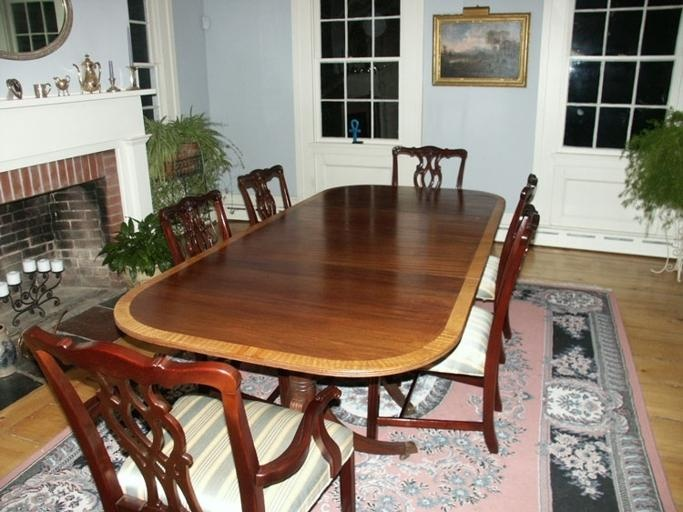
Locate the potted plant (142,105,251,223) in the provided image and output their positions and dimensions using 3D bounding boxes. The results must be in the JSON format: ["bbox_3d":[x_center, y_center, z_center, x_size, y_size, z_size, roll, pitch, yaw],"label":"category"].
[{"bbox_3d":[-1.406,-0.946,4.621,1.180,0.760,1.149,9,26,18],"label":"potted plant"}]

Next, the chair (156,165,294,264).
[{"bbox_3d":[-0.817,-0.312,3.375,0.330,0.444,1.004,13,36,24],"label":"chair"}]

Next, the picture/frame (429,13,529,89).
[{"bbox_3d":[1.322,-1.949,4.582,0.785,0.553,0.056,3,13,15],"label":"picture/frame"}]

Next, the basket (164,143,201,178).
[{"bbox_3d":[-1.425,-0.874,4.476,0.222,0.125,0.355,4,22,7],"label":"basket"}]

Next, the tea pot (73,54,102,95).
[{"bbox_3d":[-1.771,-1.304,3.502,0.129,0.262,0.257,7,20,13],"label":"tea pot"}]
